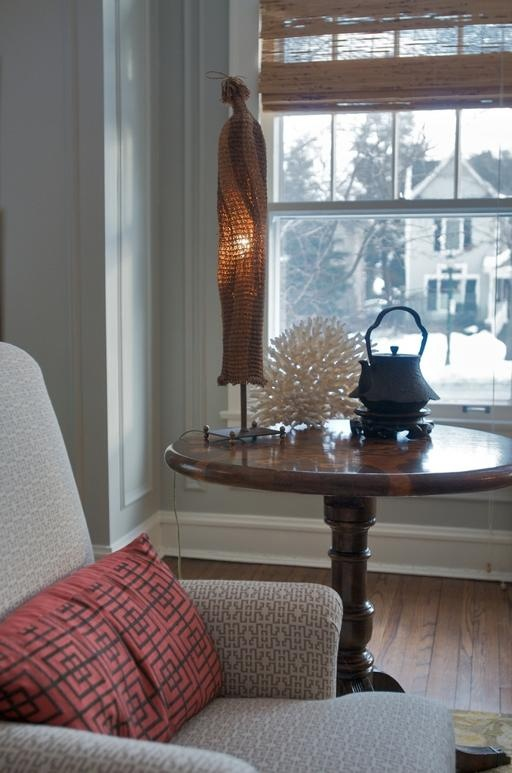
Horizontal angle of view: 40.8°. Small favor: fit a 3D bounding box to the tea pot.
[{"bbox_3d":[0.327,-0.043,1.678,0.249,0.280,0.229,3,-5,0],"label":"tea pot"}]
